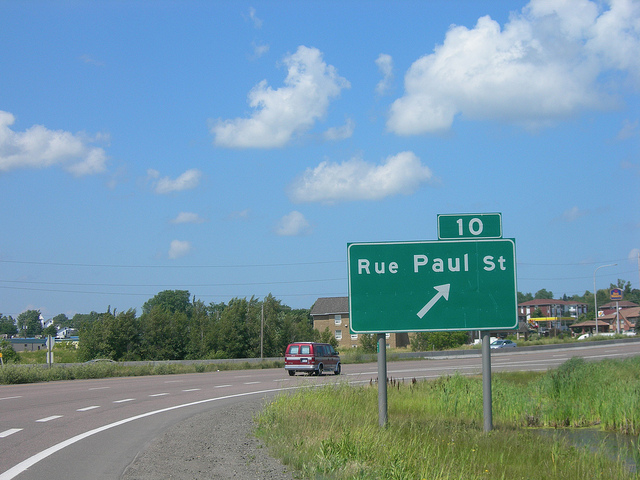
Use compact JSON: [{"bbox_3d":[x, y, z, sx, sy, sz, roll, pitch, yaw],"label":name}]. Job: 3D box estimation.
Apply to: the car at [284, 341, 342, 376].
[{"bbox_3d":[-0.205,6.248,39.404,1.521,1.482,3.124,-2,-2,28],"label":"car"}]
